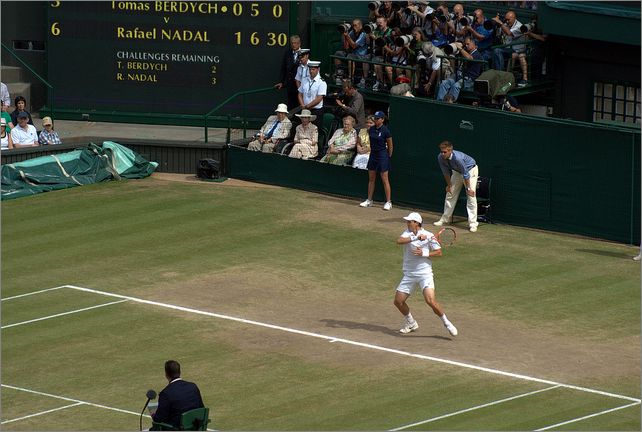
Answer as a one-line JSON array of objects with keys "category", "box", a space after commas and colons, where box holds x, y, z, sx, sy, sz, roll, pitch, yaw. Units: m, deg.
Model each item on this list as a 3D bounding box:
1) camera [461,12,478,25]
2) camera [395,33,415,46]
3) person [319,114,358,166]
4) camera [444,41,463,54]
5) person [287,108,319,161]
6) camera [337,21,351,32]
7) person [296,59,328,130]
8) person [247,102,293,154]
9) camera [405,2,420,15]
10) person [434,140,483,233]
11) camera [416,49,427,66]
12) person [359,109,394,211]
[{"category": "camera", "box": [4.151, -5.531, 38.061, 0.450, 0.307, 0.588, 3, 9, 4]}, {"category": "camera", "box": [2.323, -4.968, 38.046, 0.414, 0.333, 0.562, 7, 11, 25]}, {"category": "person", "box": [0.364, -1.966, 36.347, 0.980, 1.388, 0.930, 19, 41, 24]}, {"category": "camera", "box": [3.702, -4.678, 37.435, 0.331, 0.282, 0.490, -18, 1, 41]}, {"category": "person", "box": [-0.561, -2.202, 36.896, 0.836, 1.265, 0.970, 10, 15, 22]}, {"category": "camera", "box": [0.651, -5.523, 39.346, 0.355, 0.293, 0.577, 3, 9, 3]}, {"category": "person", "box": [-0.319, -3.410, 37.506, 0.929, 1.869, 0.549, 3, 38, 3]}, {"category": "person", "box": [-1.526, -2.250, 37.445, 0.890, 1.440, 1.464, 25, 35, 39]}, {"category": "camera", "box": [2.620, -5.969, 38.734, 0.266, 0.189, 0.738, 30, 22, 14]}, {"category": "person", "box": [3.406, -0.764, 33.550, 1.391, 2.019, 1.077, 4, 9, 25]}, {"category": "camera", "box": [2.803, -4.387, 37.395, 0.244, 0.353, 0.463, 3, 10, 3]}, {"category": "person", "box": [1.497, -1.400, 34.627, 0.799, 2.621, 1.065, 4, 11, 2]}]
